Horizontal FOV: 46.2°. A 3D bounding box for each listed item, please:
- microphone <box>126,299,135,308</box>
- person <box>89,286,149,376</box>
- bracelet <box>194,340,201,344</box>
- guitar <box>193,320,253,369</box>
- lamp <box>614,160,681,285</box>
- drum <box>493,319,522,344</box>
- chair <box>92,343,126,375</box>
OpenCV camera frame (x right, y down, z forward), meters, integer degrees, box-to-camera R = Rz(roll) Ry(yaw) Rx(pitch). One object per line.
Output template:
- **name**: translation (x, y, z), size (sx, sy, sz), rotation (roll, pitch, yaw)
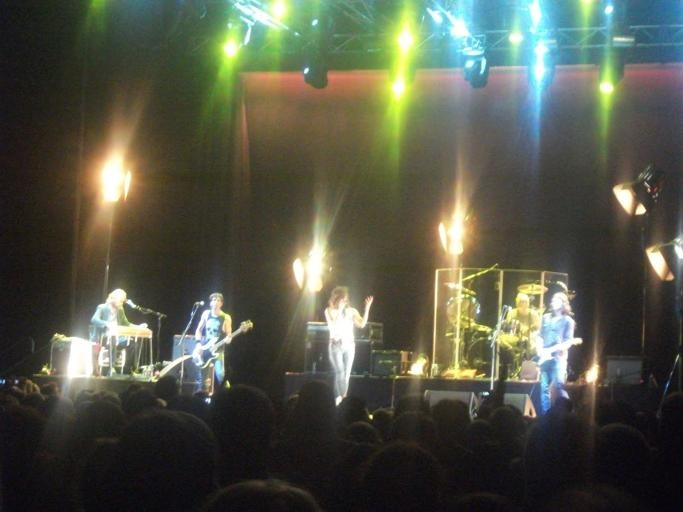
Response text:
- **microphone**: translation (-3.303, 0.739, 12.526), size (0.117, 0.119, 0.117), rotation (-3, 15, -22)
- **person**: translation (-3.342, 1.013, 11.627), size (0.538, 1.019, 0.571), rotation (20, 11, 34)
- **bracelet**: translation (-2.134, 1.283, 11.918), size (0.071, 0.057, 0.075), rotation (-1, -10, 8)
- **guitar**: translation (-1.854, 1.339, 12.167), size (0.776, 0.790, 1.063), rotation (3, -10, 2)
- **lamp**: translation (4.320, -0.412, 11.312), size (0.880, 1.688, 2.402), rotation (0, -10, 19)
- **drum**: translation (2.376, 1.100, 11.483), size (0.313, 0.273, 0.345), rotation (13, -34, -9)
- **chair**: translation (-3.308, 1.496, 11.433), size (0.348, 0.488, 0.473), rotation (-6, -9, 33)
